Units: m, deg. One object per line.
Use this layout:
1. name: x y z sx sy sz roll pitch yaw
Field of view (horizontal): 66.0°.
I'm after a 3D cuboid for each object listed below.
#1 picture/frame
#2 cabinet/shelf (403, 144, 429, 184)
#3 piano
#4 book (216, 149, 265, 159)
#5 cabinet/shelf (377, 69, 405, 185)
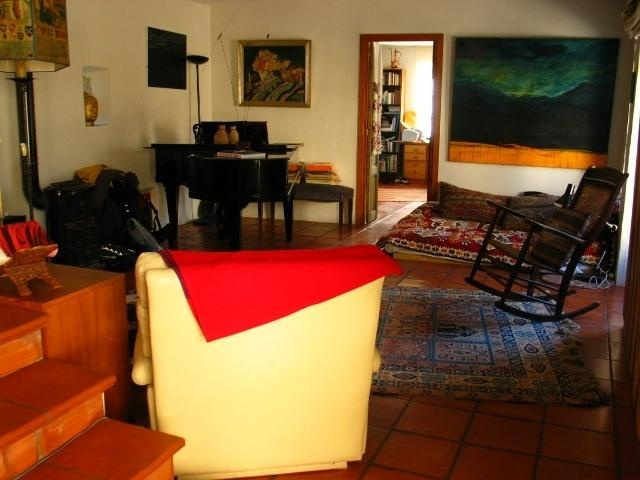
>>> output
1. picture/frame: -0.634 -2.447 7.072 1.159 0.824 0.086 4 14 16
2. cabinet/shelf: 2.225 -1.819 11.655 0.562 0.948 0.337 2 20 7
3. piano: -1.039 -0.589 5.684 1.603 1.421 1.721 -6 19 -17
4. book: -0.808 -0.864 5.012 0.497 0.050 0.293 -2 17 -7
5. cabinet/shelf: 1.745 -2.786 11.892 0.551 2.647 1.281 2 20 7
